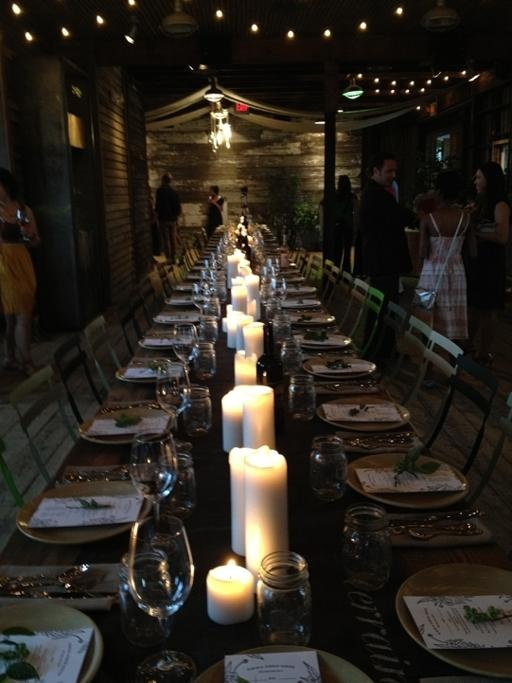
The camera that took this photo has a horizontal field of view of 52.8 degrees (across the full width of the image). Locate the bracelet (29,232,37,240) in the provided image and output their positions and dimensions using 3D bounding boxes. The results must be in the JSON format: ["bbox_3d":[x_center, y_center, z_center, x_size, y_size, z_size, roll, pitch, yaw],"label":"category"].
[{"bbox_3d":[-1.860,-0.872,4.294,0.046,0.033,0.046,1,5,-30],"label":"bracelet"}]

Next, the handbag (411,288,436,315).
[{"bbox_3d":[1.342,-0.320,4.120,0.104,0.251,0.269,-1,6,-24],"label":"handbag"}]
